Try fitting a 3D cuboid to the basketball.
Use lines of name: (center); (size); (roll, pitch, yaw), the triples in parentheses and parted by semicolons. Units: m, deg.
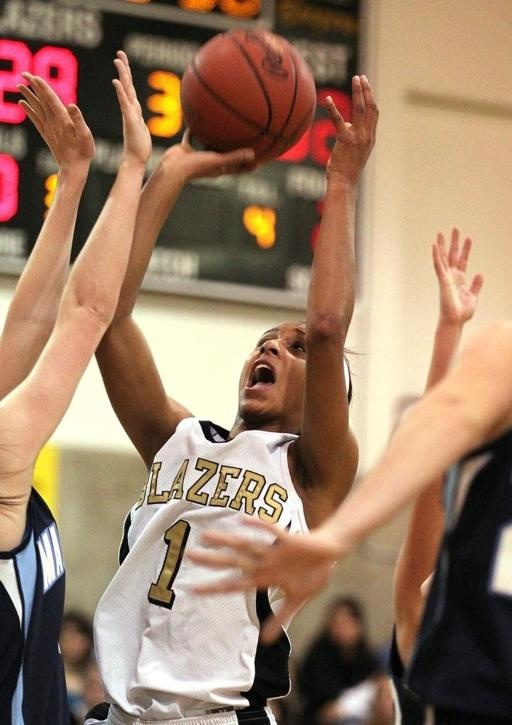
basketball: (-0.019, -0.558, 2.269); (0.289, 0.304, 0.299); (-18, 5, 0)
